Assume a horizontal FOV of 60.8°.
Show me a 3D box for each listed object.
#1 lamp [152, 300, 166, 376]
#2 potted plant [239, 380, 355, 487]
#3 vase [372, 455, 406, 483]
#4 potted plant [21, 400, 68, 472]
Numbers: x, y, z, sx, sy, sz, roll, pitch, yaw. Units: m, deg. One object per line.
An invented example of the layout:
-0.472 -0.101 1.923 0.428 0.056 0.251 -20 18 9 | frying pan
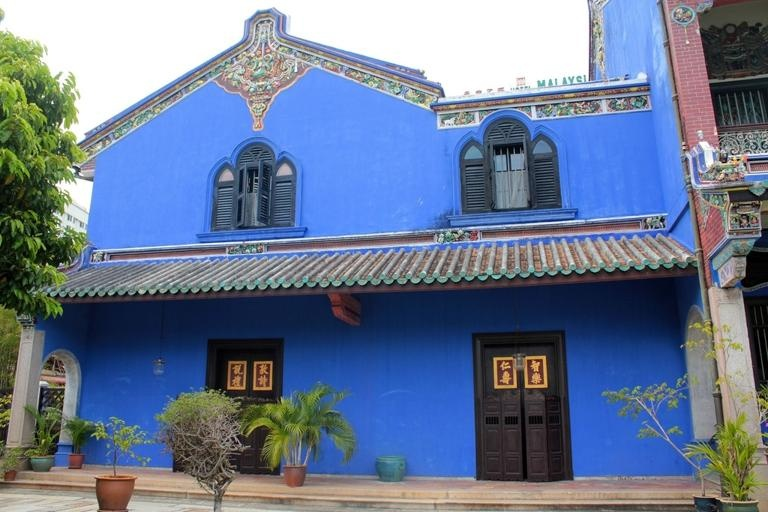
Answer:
-5.149 1.915 15.012 0.269 1.650 0.226 -4 -17 10 | lamp
-1.712 3.586 13.150 2.139 1.937 1.363 2 -17 -10 | potted plant
0.132 4.336 13.381 0.624 0.511 0.435 -1 -17 -1 | vase
-7.708 4.081 14.676 0.745 1.397 1.332 7 -19 -25 | potted plant
